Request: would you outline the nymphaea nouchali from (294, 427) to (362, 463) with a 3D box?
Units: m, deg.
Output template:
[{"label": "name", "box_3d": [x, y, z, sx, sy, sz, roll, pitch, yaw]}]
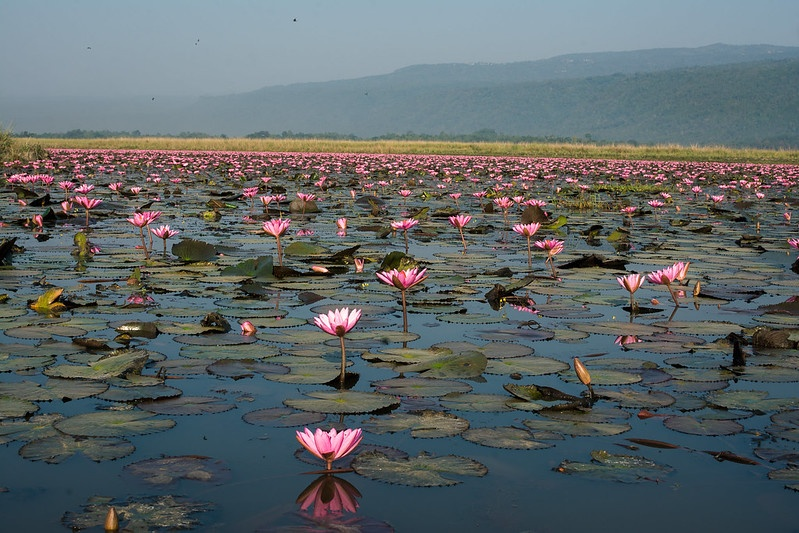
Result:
[{"label": "nymphaea nouchali", "box_3d": [-0.334, 0.829, 3.636, 0.282, 0.109, 0.257, -2, -9, 8]}]
